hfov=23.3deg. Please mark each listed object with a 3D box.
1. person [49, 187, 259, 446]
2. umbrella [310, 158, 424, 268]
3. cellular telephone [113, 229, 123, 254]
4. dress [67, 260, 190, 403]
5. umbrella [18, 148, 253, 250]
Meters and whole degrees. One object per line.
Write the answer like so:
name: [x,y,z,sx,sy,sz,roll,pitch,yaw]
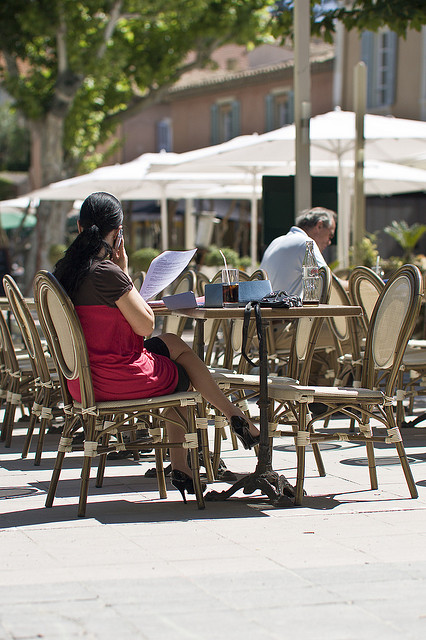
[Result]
person: [-0.280,-0.018,4.203,0.716,1.002,0.324,-3,10,-10]
umbrella: [2.081,-1.372,13.187,1.400,1.222,1.426,4,4,35]
cellular telephone: [-0.387,-0.324,4.224,0.031,0.097,0.065,2,10,18]
dress: [-0.326,0.034,4.127,0.461,0.561,0.178,-3,10,-12]
umbrella: [-0.859,-1.641,14.394,2.730,1.441,4.194,0,10,9]
